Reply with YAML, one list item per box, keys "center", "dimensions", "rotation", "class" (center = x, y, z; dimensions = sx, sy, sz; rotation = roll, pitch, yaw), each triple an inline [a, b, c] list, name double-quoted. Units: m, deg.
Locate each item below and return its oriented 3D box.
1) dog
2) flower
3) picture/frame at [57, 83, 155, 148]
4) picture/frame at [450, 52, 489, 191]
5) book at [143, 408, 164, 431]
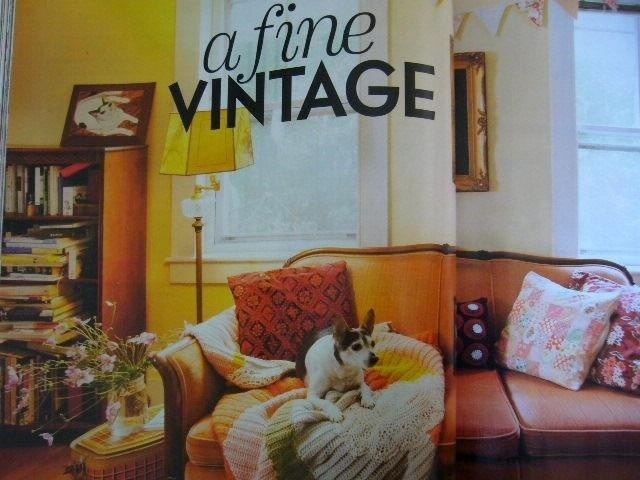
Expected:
- center: [0.033, 0.246, 1.369]
  dimensions: [0.131, 0.224, 0.337]
  rotation: [-2, 3, -16]
  class: "dog"
- center: [-0.493, 0.249, 1.360]
  dimensions: [0.241, 0.168, 0.336]
  rotation: [-2, 6, 12]
  class: "flower"
- center: [-0.435, -0.254, 1.303]
  dimensions: [0.121, 0.113, 0.009]
  rotation: [1, -10, 6]
  class: "picture/frame"
- center: [0.377, -0.312, 1.592]
  dimensions: [0.029, 0.386, 0.317]
  rotation: [0, 6, 28]
  class: "picture/frame"
- center: [-0.341, 0.383, 1.321]
  dimensions: [0.042, 0.048, 0.013]
  rotation: [2, 7, -7]
  class: "book"
